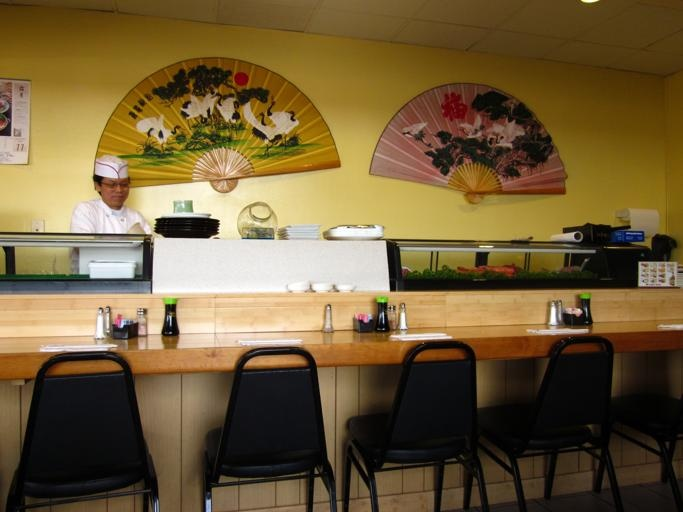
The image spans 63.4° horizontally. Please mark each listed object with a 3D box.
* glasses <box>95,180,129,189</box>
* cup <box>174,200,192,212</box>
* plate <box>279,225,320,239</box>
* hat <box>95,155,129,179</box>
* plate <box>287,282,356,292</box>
[{"bbox_3d":[-1.897,-0.587,4.526,0.265,0.080,0.126,-2,4,-10],"label":"glasses"},{"bbox_3d":[-0.926,-0.289,3.218,0.086,0.060,0.083,1,3,0],"label":"cup"},{"bbox_3d":[-0.268,-0.149,3.371,0.231,0.087,0.292,-2,4,-10],"label":"plate"},{"bbox_3d":[-1.866,-0.718,4.481,0.214,0.131,0.218,-3,8,-37],"label":"hat"},{"bbox_3d":[-0.115,0.175,3.192,0.407,0.067,0.080,-2,4,-19],"label":"plate"}]
